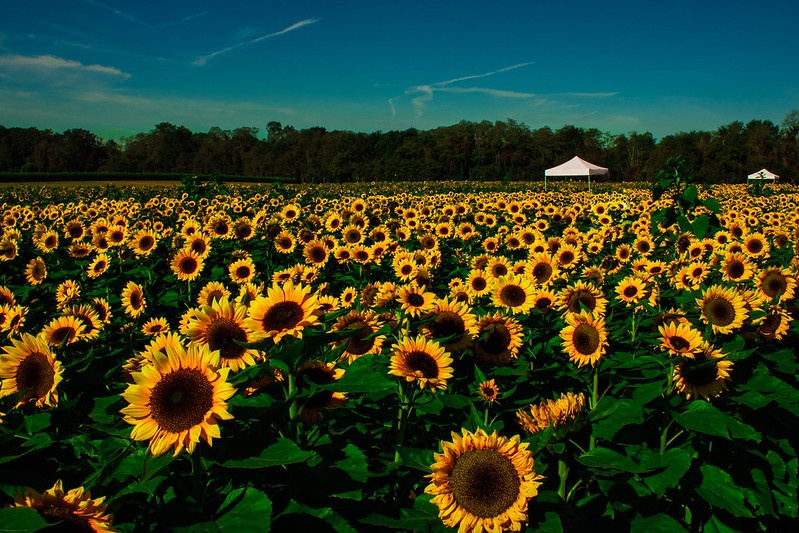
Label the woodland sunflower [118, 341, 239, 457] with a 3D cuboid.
[{"bbox_3d":[-1.118,0.678,2.717,0.610,0.578,0.190,-12,-21,-6],"label":"woodland sunflower"}]
